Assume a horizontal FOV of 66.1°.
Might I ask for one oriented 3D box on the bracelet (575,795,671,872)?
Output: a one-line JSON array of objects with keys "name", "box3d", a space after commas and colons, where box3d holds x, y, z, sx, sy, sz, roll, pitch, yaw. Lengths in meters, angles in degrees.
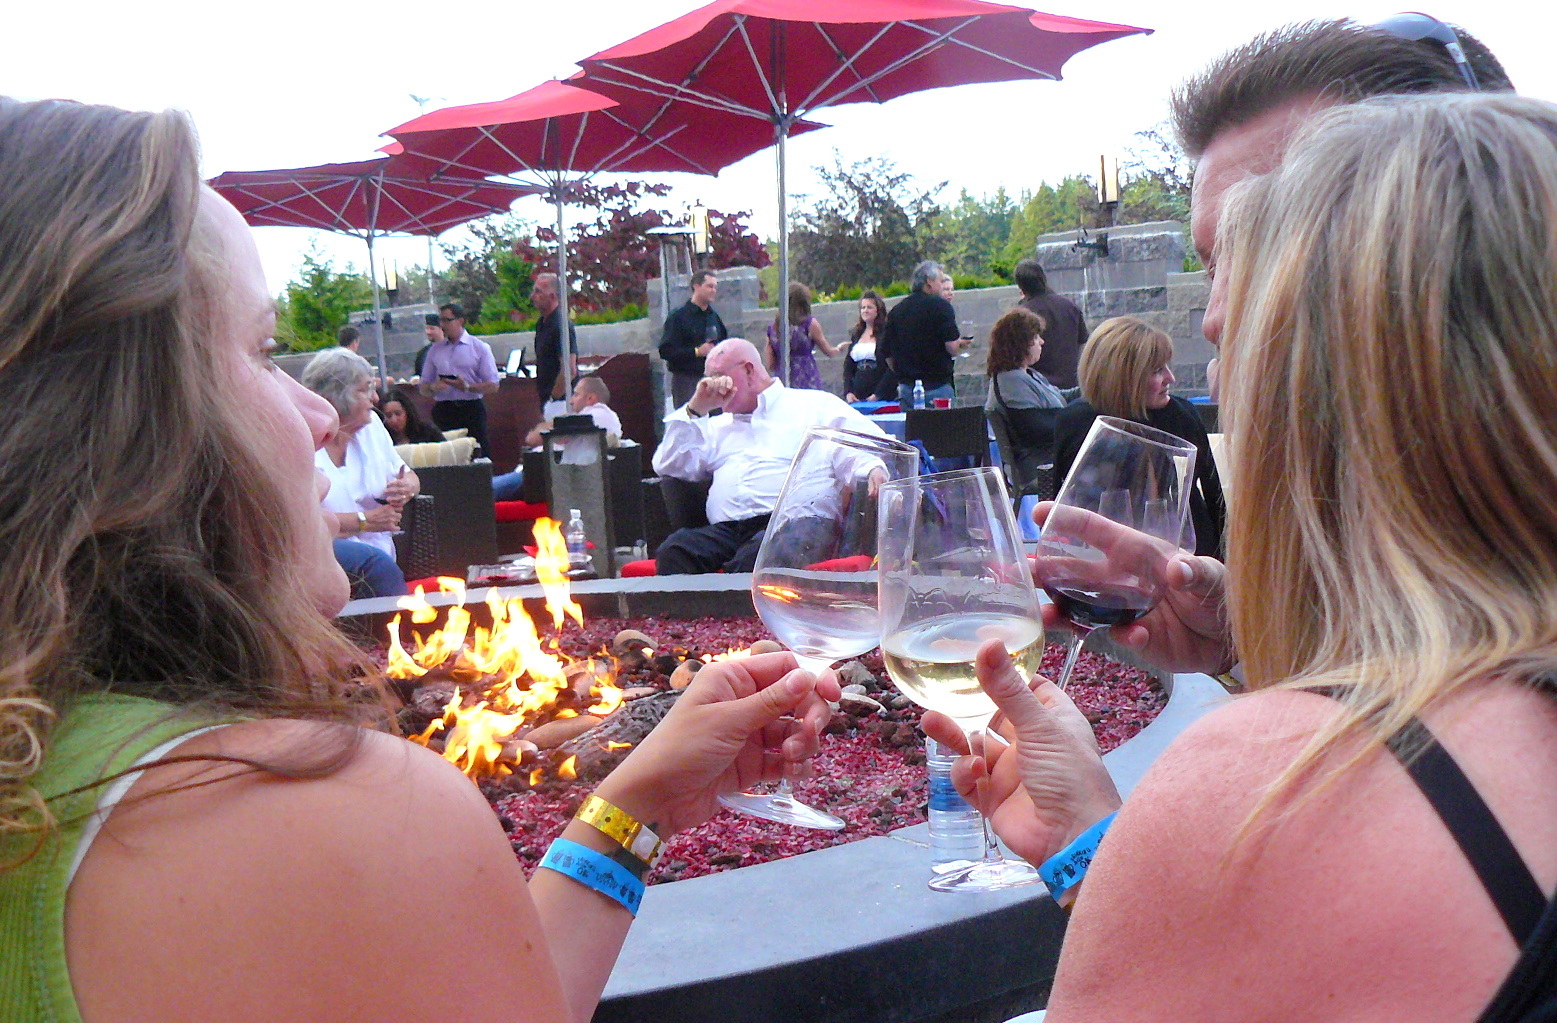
[{"name": "bracelet", "box3d": [-0.200, 0.394, 1.524, 0.088, 0.034, 0.093, 26, -17, 37]}]
